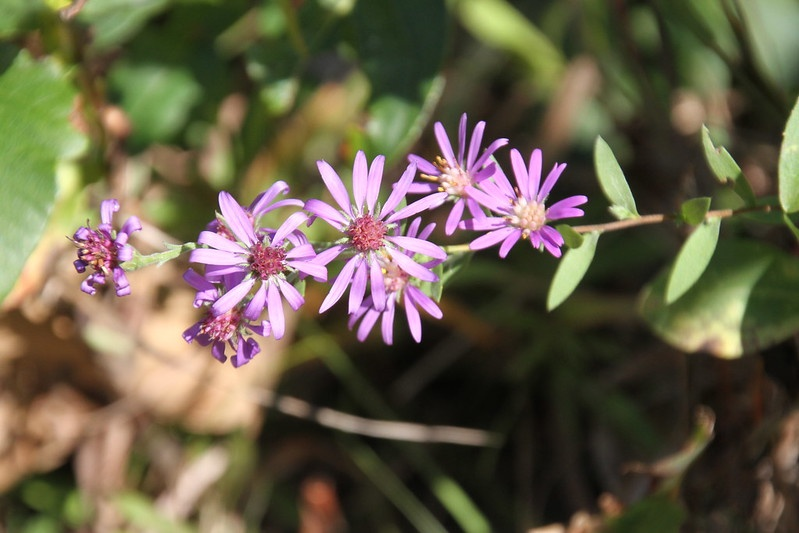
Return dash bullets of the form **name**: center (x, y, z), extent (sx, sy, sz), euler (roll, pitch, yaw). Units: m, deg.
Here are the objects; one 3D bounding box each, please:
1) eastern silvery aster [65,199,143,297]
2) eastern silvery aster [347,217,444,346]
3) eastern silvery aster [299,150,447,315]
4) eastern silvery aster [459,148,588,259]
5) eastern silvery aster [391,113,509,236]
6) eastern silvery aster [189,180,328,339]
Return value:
- **eastern silvery aster**: center (-1.199, -0.066, 3.273), extent (0.366, 0.175, 0.380), euler (-48, 30, -15)
- **eastern silvery aster**: center (0.011, 0.108, 3.325), extent (0.470, 0.097, 0.491), euler (-39, 41, 16)
- **eastern silvery aster**: center (-0.130, -0.194, 3.283), extent (0.588, 0.601, 0.151), euler (-25, 63, 24)
- **eastern silvery aster**: center (0.471, -0.285, 3.317), extent (0.502, 0.528, 0.243), euler (-19, 96, 27)
- **eastern silvery aster**: center (0.285, -0.415, 3.436), extent (0.725, 0.800, 0.273), euler (1, 104, -5)
- **eastern silvery aster**: center (-0.547, 0.004, 3.185), extent (0.525, 0.540, 0.185), euler (17, 107, 21)
